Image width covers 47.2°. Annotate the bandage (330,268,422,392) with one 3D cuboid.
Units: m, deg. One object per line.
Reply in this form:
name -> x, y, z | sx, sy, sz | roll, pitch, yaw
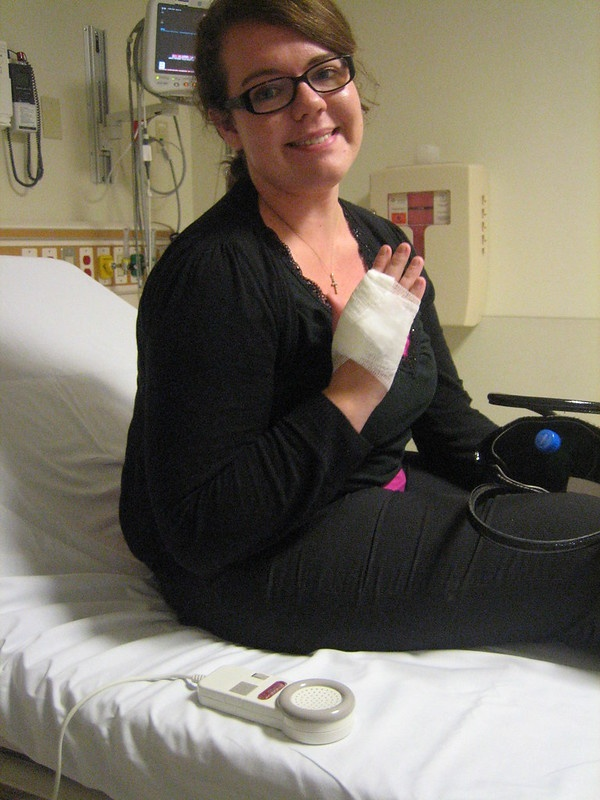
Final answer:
bandage -> 0.093, -0.089, 0.906 | 0.116, 0.144, 0.045 | 33, -11, 1
